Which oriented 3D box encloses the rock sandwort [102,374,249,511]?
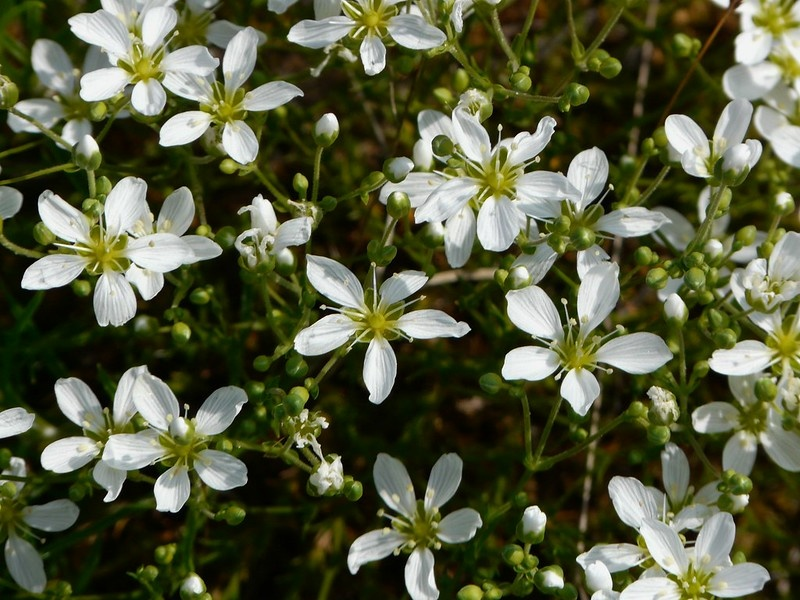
[{"bbox_3d":[-0.953,0.631,3.611,0.616,0.243,0.520,12,62,-5],"label":"rock sandwort"}]

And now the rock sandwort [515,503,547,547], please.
[{"bbox_3d":[0.582,0.999,3.613,0.101,0.124,0.182,25,68,-10],"label":"rock sandwort"}]

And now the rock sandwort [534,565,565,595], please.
[{"bbox_3d":[0.664,1.225,3.614,0.135,0.110,0.117,-9,64,-15],"label":"rock sandwort"}]
